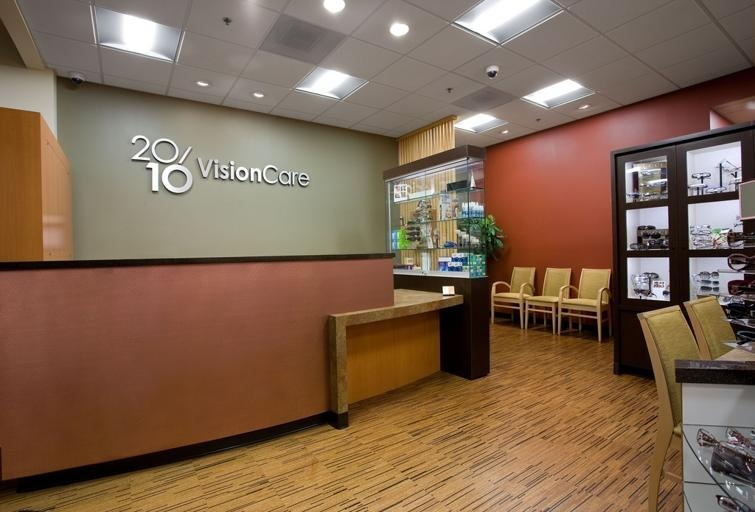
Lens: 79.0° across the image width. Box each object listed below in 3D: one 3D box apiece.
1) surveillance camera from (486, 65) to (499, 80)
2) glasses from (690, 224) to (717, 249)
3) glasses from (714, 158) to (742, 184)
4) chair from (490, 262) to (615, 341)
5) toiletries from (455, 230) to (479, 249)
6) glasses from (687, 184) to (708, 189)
[{"bbox_3d":[1.517,-2.449,6.092,0.109,0.088,0.116,-3,4,-34],"label":"surveillance camera"},{"bbox_3d":[3.731,-0.228,5.278,0.236,0.274,0.113,0,3,35],"label":"glasses"},{"bbox_3d":[3.958,-0.932,5.175,0.083,0.351,0.228,-4,3,-41],"label":"glasses"},{"bbox_3d":[3.016,0.749,8.119,0.940,1.071,2.096,-4,3,-43],"label":"chair"},{"bbox_3d":[1.101,-0.209,5.620,0.289,0.235,0.173,-1,2,15],"label":"toiletries"},{"bbox_3d":[3.667,-0.797,5.259,0.190,0.064,0.028,-2,2,-1],"label":"glasses"}]
